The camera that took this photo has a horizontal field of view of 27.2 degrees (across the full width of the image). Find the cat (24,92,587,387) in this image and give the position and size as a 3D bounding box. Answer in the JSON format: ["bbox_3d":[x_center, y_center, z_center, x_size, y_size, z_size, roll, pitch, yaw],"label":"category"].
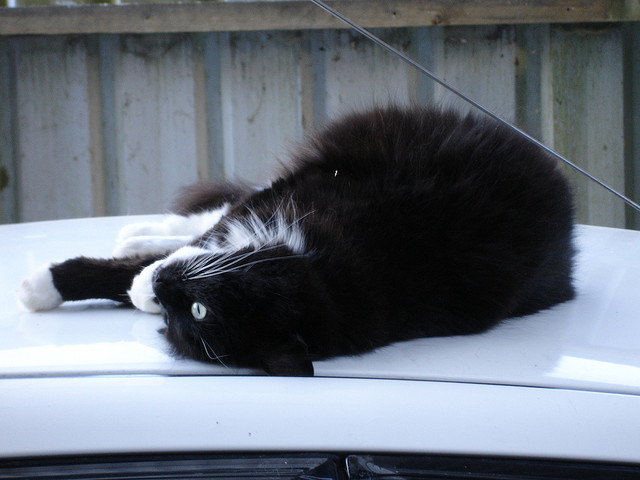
[{"bbox_3d":[0.033,0.004,2.351,0.766,0.565,0.210,-8,-42,-4],"label":"cat"}]
